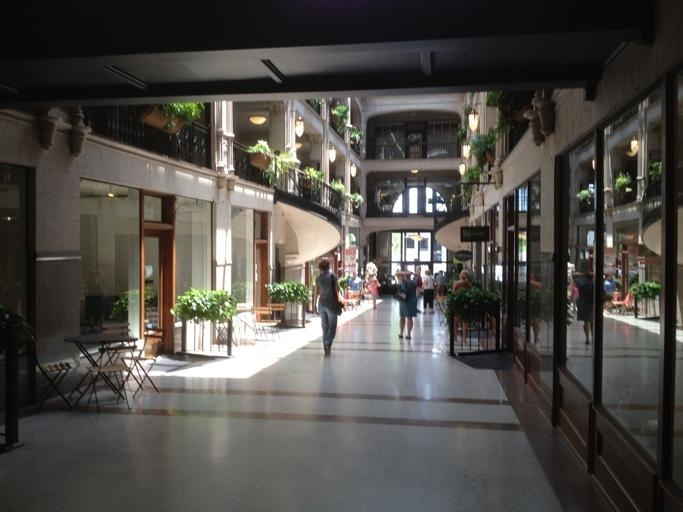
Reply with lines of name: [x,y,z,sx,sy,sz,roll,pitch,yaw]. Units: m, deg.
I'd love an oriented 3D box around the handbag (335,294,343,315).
handbag: [-0.046,0.969,11.538,0.146,0.401,0.278,0,2,6]

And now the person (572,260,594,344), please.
person: [2.528,0.555,6.189,0.221,0.810,0.214,-16,-29,34]

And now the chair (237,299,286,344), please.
chair: [-2.125,1.735,14.067,0.985,0.854,0.790,1,9,1]

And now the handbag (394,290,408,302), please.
handbag: [1.385,0.875,13.222,0.177,0.289,0.093,4,33,15]

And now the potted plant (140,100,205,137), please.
potted plant: [-3.099,-2.586,10.419,0.454,0.619,1.219,1,2,30]

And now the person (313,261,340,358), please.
person: [-0.285,1.007,11.950,0.507,1.937,1.460,0,2,-3]
